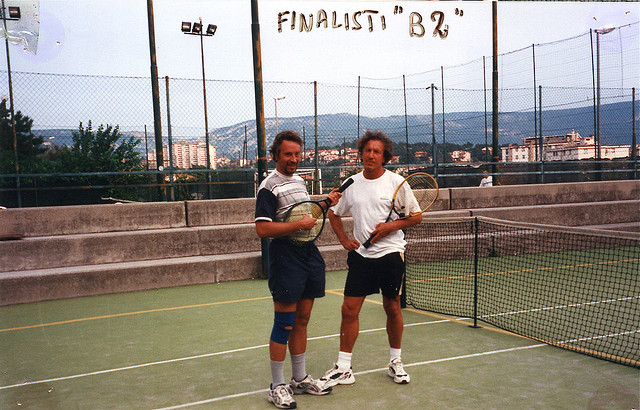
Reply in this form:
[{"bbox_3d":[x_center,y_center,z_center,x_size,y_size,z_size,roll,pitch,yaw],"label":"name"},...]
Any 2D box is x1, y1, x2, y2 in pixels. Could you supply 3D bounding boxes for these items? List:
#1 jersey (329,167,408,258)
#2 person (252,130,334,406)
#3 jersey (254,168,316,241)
[{"bbox_3d":[0.795,0.138,8.237,1.257,1.268,0.685,-4,5,15],"label":"jersey"},{"bbox_3d":[-0.403,0.911,7.751,0.938,3.809,0.803,-3,11,-8],"label":"person"},{"bbox_3d":[-0.455,0.020,8.031,0.687,1.088,1.270,-8,-4,40],"label":"jersey"}]
